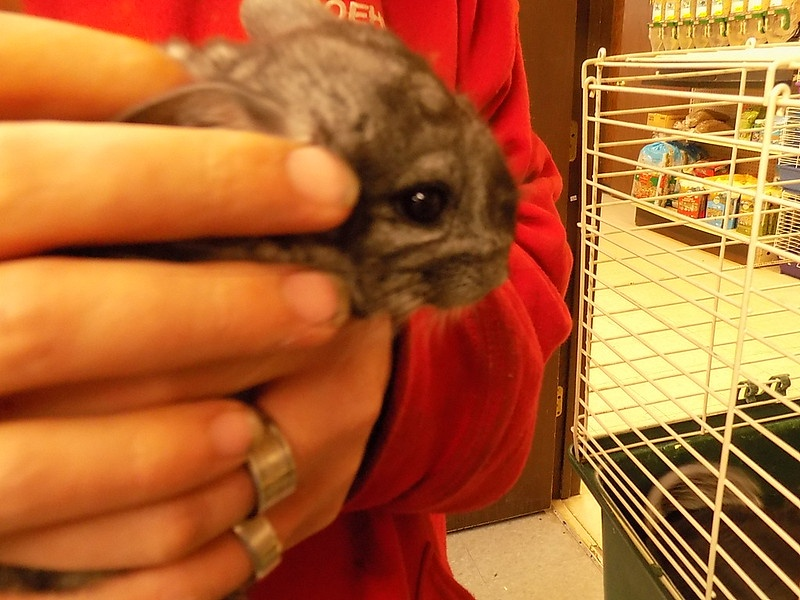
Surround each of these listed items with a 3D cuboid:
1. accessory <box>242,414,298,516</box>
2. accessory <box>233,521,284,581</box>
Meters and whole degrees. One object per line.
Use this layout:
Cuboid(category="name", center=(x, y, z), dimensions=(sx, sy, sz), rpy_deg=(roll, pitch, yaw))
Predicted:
Cuboid(category="accessory", center=(-0.060, 0.074, 0.293), dimensions=(0.013, 0.040, 0.030), rpy_deg=(-12, 50, -29))
Cuboid(category="accessory", center=(-0.064, 0.115, 0.305), dimensions=(0.020, 0.030, 0.021), rpy_deg=(-12, -16, 5))
